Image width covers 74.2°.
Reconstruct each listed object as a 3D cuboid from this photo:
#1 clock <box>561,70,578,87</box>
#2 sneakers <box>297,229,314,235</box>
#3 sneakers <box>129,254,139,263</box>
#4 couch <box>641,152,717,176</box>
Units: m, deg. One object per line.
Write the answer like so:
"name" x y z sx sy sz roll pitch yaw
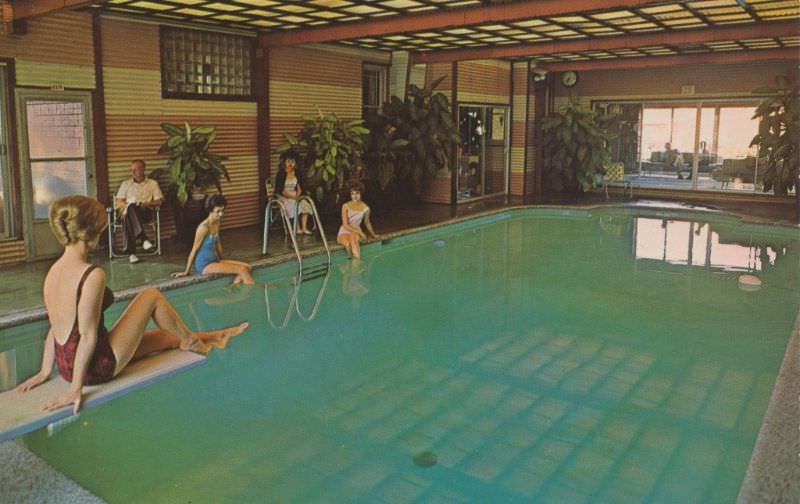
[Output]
"clock" 5.758 -5.885 17.939 0.461 0.477 0.373 1 15 16
"sneakers" -2.036 -0.442 11.418 0.314 0.089 0.127 0 5 18
"sneakers" -4.576 0.103 9.106 0.098 0.123 0.195 -32 21 -21
"couch" 9.591 -3.121 18.291 2.240 0.772 0.192 4 16 24
